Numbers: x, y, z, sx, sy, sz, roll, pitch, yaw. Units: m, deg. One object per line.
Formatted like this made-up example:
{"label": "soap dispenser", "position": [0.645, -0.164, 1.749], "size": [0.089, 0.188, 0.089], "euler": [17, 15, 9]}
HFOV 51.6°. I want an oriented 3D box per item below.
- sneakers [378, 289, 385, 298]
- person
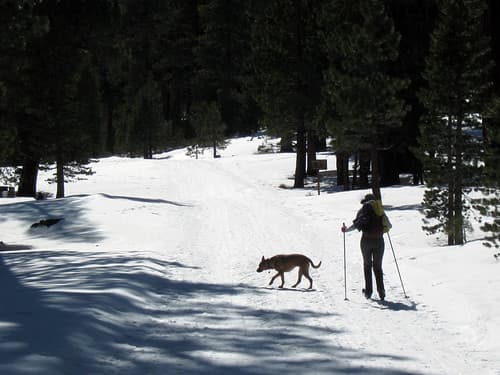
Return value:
{"label": "sneakers", "position": [3.319, 2.673, 13.020], "size": [0.091, 0.329, 0.136], "euler": [5, -24, -4]}
{"label": "person", "position": [3.146, 1.486, 13.436], "size": [1.058, 2.565, 0.897], "euler": [5, 7, 40]}
